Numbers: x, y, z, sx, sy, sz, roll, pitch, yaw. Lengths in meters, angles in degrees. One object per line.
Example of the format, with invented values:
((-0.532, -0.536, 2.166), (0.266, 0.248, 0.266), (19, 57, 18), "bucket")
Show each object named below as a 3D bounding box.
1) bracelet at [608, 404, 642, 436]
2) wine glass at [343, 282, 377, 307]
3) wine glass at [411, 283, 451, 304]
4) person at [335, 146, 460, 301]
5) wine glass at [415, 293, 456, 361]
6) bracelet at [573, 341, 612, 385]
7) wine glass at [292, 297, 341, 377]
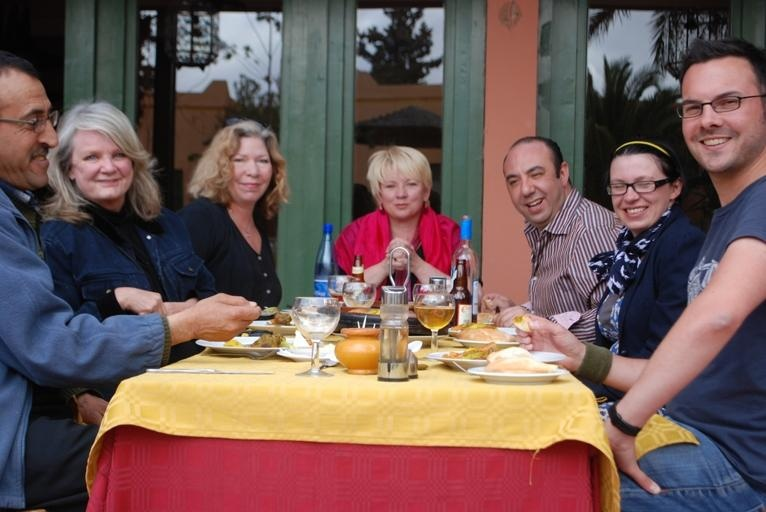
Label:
((0.744, 0.502, 2.240), (0.093, 0.039, 0.081), (23, 31, -13), "bracelet")
((-0.097, 0.153, 2.960), (0.099, 0.092, 0.112), (2, 2, 14), "wine glass")
((0.181, 0.140, 2.628), (0.076, 0.064, 0.085), (1, 5, 16), "wine glass")
((0.075, -0.195, 4.212), (0.758, 0.832, 0.633), (1, 12, 5), "person")
((0.196, 0.270, 2.645), (0.148, 0.283, 0.153), (3, 6, 36), "wine glass")
((0.731, 0.369, 2.491), (0.102, 0.116, 0.139), (12, 13, 14), "bracelet")
((-0.214, 0.259, 2.353), (0.155, 0.263, 0.162), (4, 3, 7), "wine glass")
